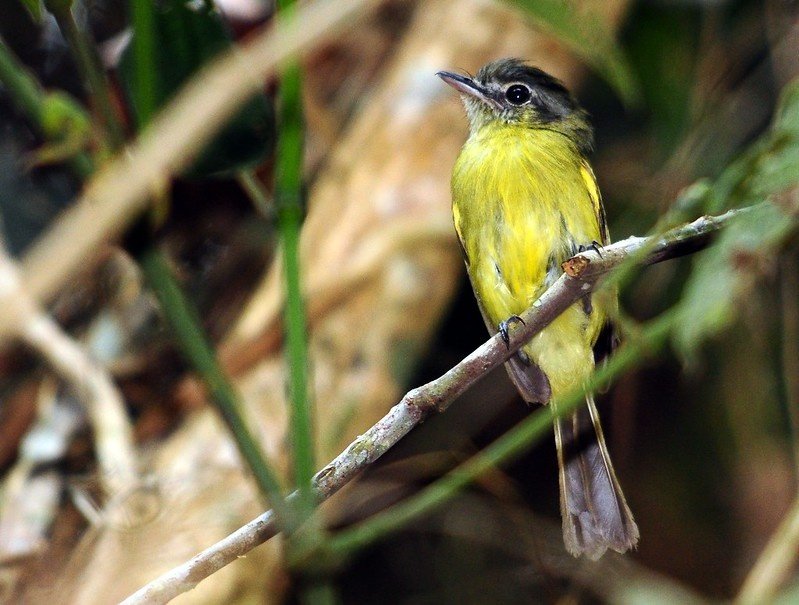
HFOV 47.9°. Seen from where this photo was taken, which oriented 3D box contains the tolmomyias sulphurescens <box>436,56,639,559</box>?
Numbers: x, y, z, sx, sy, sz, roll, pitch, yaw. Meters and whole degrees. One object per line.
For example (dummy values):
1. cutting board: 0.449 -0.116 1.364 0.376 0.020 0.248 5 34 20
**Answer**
1. tolmomyias sulphurescens: 0.249 -0.097 1.656 0.238 1.017 0.402 -11 -2 14
